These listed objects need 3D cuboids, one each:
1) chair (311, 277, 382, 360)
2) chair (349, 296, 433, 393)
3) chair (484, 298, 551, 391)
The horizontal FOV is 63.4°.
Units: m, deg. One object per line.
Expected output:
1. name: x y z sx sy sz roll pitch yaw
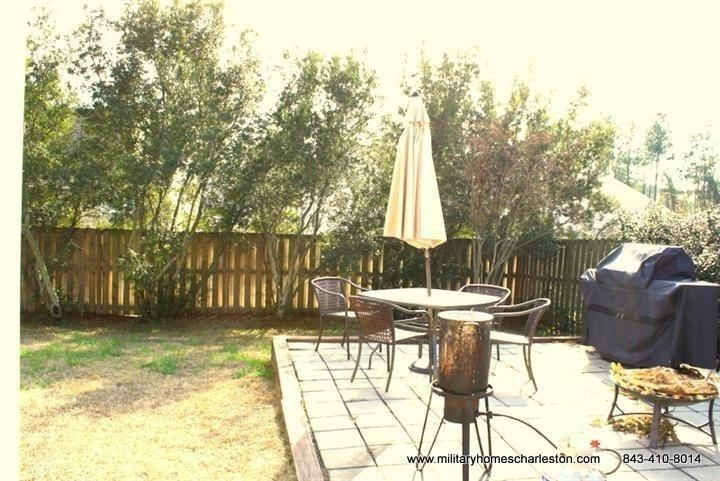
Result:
1. chair: -0.277 1.233 9.594 0.926 1.274 0.928 0 0 -36
2. chair: 0.347 1.408 8.409 0.878 1.269 0.886 6 7 41
3. chair: 2.193 1.507 8.378 0.855 1.273 0.911 2 0 20
